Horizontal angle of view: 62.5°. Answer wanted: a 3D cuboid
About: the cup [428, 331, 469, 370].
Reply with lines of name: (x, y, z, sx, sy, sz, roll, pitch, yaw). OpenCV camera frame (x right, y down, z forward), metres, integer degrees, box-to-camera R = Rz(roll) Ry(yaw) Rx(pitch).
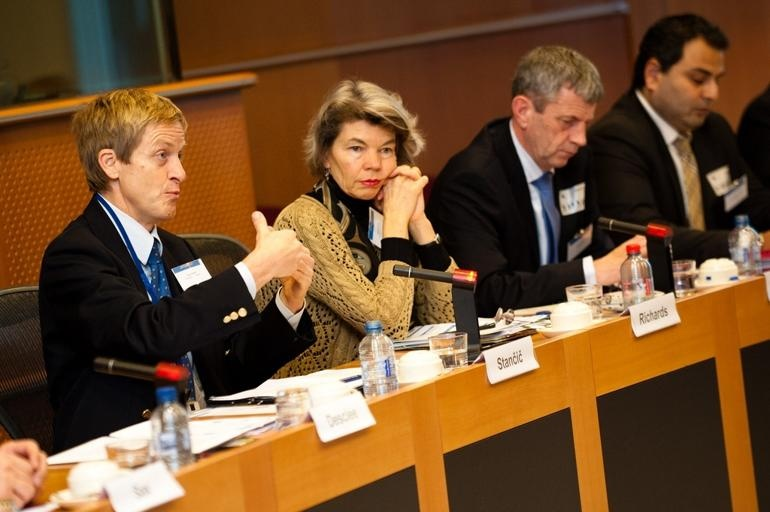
cup: (0.199, 0.268, 1.816, 0.093, 0.097, 0.111, -2, 6, 32)

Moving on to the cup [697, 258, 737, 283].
cup: (1.157, 0.057, 2.191, 0.092, 0.062, 0.097, -2, 4, 0)

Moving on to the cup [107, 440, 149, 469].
cup: (-0.574, 0.439, 1.409, 0.061, 0.041, 0.063, 0, -6, 0)

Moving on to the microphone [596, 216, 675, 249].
microphone: (1.009, -0.095, 2.556, 0.311, 0.100, 0.094, 15, 16, 36)

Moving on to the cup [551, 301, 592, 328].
cup: (0.573, 0.169, 1.924, 0.084, 0.055, 0.085, 0, -2, 0)

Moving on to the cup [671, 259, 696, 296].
cup: (1.024, 0.072, 2.163, 0.105, 0.122, 0.110, -1, -2, 0)

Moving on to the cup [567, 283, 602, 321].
cup: (0.667, 0.159, 2.111, 0.123, 0.130, 0.117, -8, -1, 0)

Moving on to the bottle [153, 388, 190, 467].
bottle: (-0.485, 0.373, 1.423, 0.084, 0.155, 0.145, -9, 5, -20)

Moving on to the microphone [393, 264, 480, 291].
microphone: (0.162, 0.077, 2.176, 0.272, 0.072, 0.075, 7, 7, 19)

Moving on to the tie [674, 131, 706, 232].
tie: (1.613, -0.352, 3.385, 0.127, 0.593, 0.123, 3, 41, 36)

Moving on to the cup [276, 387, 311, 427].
cup: (-0.228, 0.362, 1.534, 0.079, 0.086, 0.083, -4, 2, 0)
